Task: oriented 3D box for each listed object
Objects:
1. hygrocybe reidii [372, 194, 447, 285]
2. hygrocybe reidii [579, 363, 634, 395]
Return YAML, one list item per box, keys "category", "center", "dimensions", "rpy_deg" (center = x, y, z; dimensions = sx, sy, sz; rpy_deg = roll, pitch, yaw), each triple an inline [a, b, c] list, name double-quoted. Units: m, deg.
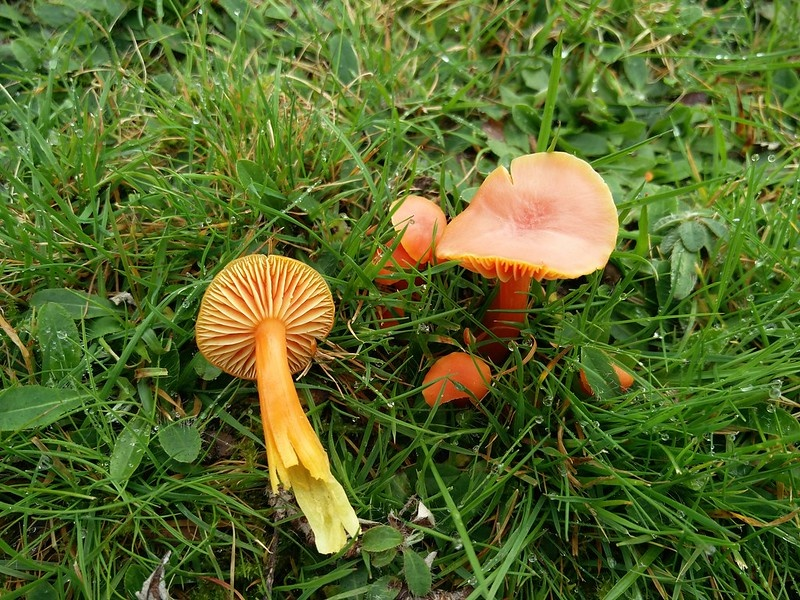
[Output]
- category: "hygrocybe reidii"
  center: [0.058, -0.213, 3.071]
  dimensions: [0.344, 0.351, 0.368]
  rpy_deg: [4, 67, -40]
- category: "hygrocybe reidii"
  center: [0.922, 0.341, 2.877]
  dimensions: [0.143, 0.171, 0.058]
  rpy_deg: [-12, 50, -7]
